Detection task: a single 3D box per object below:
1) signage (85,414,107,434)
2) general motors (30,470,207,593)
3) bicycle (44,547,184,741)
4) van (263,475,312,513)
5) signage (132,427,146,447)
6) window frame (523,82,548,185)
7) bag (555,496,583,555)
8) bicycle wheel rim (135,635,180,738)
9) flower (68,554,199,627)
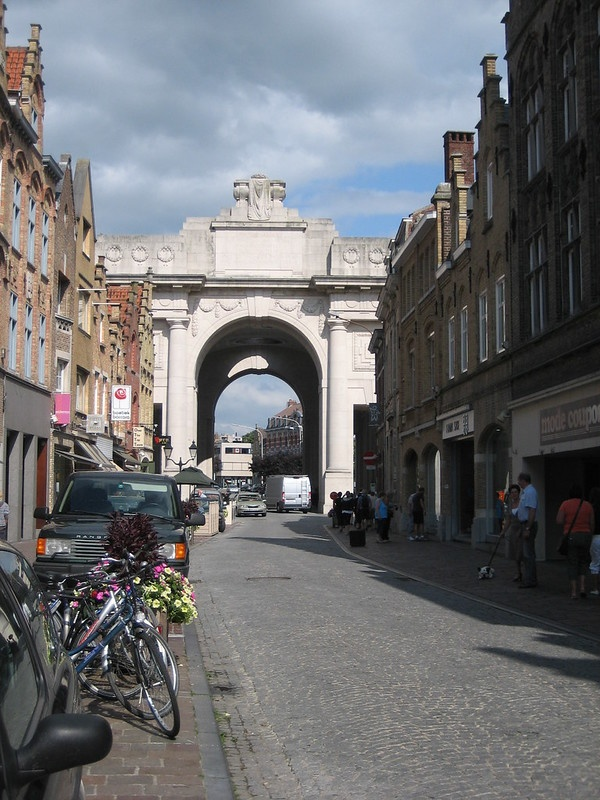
[{"bbox_3d":[-7.588,0.887,35.208,0.567,0.795,0.068,2,-16,-12],"label":"signage"},{"bbox_3d":[-2.081,1.305,10.313,1.069,1.086,1.927,1,-17,-2],"label":"general motors"},{"bbox_3d":[-1.181,1.548,6.107,0.557,1.019,1.312,3,-8,-37],"label":"bicycle"},{"bbox_3d":[-0.572,6.635,66.806,1.813,2.550,4.151,1,-1,-10],"label":"van"},{"bbox_3d":[-9.365,2.135,55.096,0.395,1.155,1.014,-1,-7,10],"label":"signage"},{"bbox_3d":[5.394,-6.135,21.819,0.079,1.898,1.367,6,25,27],"label":"window frame"},{"bbox_3d":[3.843,1.838,13.620,0.314,0.786,0.494,-2,-5,34],"label":"bag"},{"bbox_3d":[-0.849,1.744,5.794,0.197,0.588,0.581,2,-5,-26],"label":"bicycle wheel rim"},{"bbox_3d":[-1.108,1.403,6.893,0.467,0.635,0.831,-1,-3,27],"label":"flower"}]
